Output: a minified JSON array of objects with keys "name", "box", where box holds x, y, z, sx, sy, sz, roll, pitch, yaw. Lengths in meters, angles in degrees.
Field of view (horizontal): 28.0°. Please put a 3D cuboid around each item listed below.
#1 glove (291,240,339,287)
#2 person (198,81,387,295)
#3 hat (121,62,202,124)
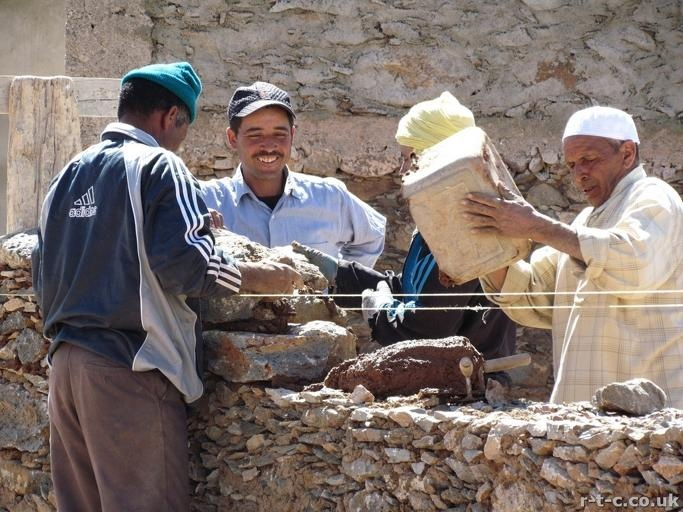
[{"name":"glove","box":[-0.154,0.028,9.066,0.302,0.114,0.298,30,7,5]},{"name":"person","box":[-0.398,-0.494,9.919,1.535,1.650,0.931,-6,-11,-11]},{"name":"hat","box":[-1.035,-1.006,8.439,0.372,0.217,0.424,7,-10,4]}]
